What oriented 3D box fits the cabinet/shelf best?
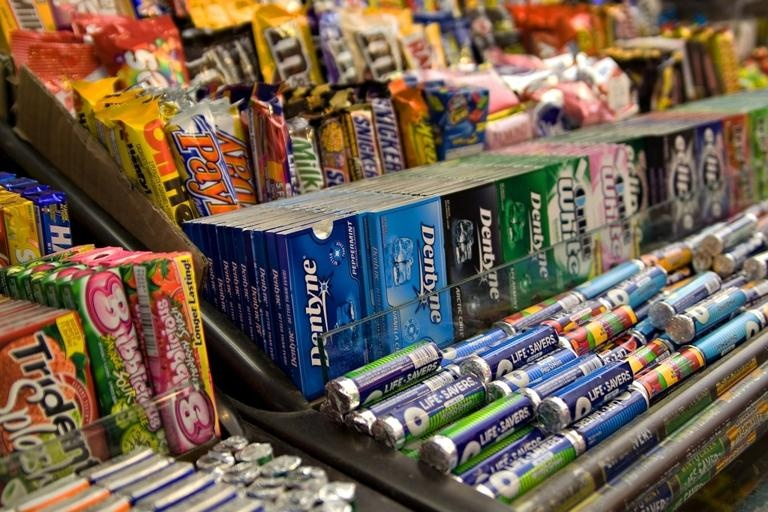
[{"bbox_3d":[0.129,0.056,1.903,1.562,0.371,1.436,-30,55,-35],"label":"cabinet/shelf"}]
